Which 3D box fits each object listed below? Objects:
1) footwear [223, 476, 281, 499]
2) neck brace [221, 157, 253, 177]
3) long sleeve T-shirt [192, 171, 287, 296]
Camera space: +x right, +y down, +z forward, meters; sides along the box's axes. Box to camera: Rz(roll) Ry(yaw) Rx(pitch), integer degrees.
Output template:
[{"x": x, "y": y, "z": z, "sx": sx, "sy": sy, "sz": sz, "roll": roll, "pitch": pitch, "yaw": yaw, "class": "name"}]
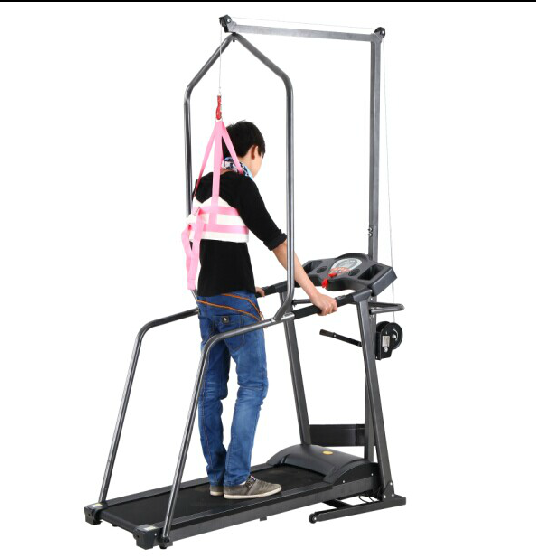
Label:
[{"x": -0.070, "y": 0.883, "z": 3.238, "sx": 0.250, "sy": 0.088, "sz": 0.098, "roll": -2, "pitch": -86, "yaw": -9, "class": "footwear"}, {"x": -0.136, "y": -0.459, "z": 3.108, "sx": 0.115, "sy": 0.080, "sz": 0.044, "roll": 28, "pitch": -101, "yaw": -36, "class": "neck brace"}, {"x": -0.140, "y": -0.167, "z": 2.937, "sx": 0.480, "sy": 0.152, "sz": 0.390, "roll": 8, "pitch": -76, "yaw": 36, "class": "long sleeve T-shirt"}]
